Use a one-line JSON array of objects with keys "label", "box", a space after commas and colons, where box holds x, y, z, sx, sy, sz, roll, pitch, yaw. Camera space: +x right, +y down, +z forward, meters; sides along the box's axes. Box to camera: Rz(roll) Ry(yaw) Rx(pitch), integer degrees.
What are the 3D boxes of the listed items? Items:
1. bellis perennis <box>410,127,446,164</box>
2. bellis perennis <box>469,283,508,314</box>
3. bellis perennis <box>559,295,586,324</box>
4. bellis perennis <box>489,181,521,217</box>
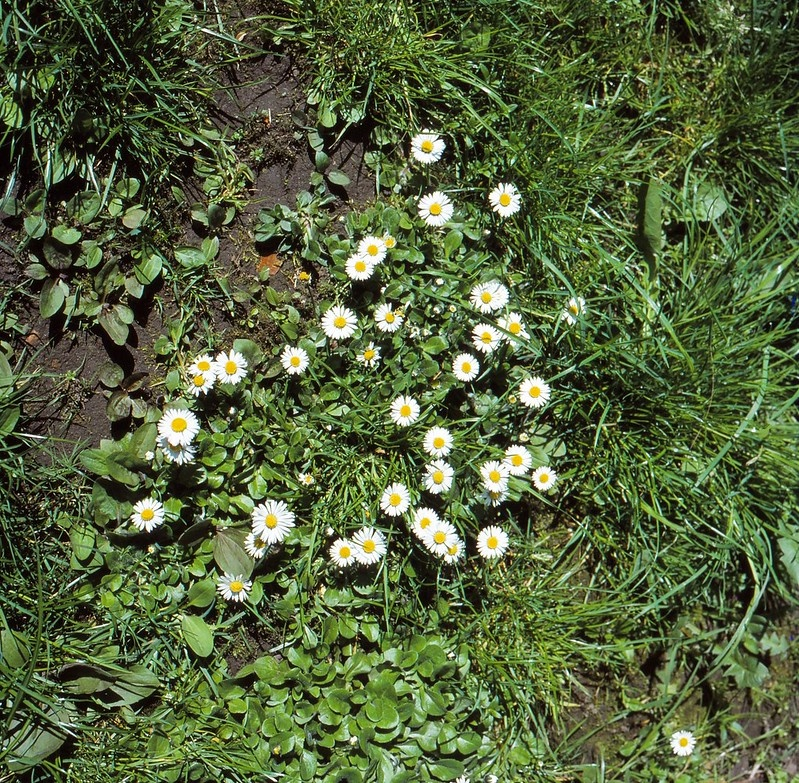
[{"label": "bellis perennis", "box": [0.106, -0.948, 2.931, 0.112, 0.100, 0.157, 0, 77, -4]}, {"label": "bellis perennis", "box": [0.340, -0.366, 2.901, 0.141, 0.033, 0.111, -20, 79, -9]}, {"label": "bellis perennis", "box": [0.682, -0.317, 2.970, 0.103, 0.035, 0.093, -44, 108, 1]}, {"label": "bellis perennis", "box": [0.408, -0.742, 2.939, 0.118, 0.067, 0.129, 42, 77, 6]}]
